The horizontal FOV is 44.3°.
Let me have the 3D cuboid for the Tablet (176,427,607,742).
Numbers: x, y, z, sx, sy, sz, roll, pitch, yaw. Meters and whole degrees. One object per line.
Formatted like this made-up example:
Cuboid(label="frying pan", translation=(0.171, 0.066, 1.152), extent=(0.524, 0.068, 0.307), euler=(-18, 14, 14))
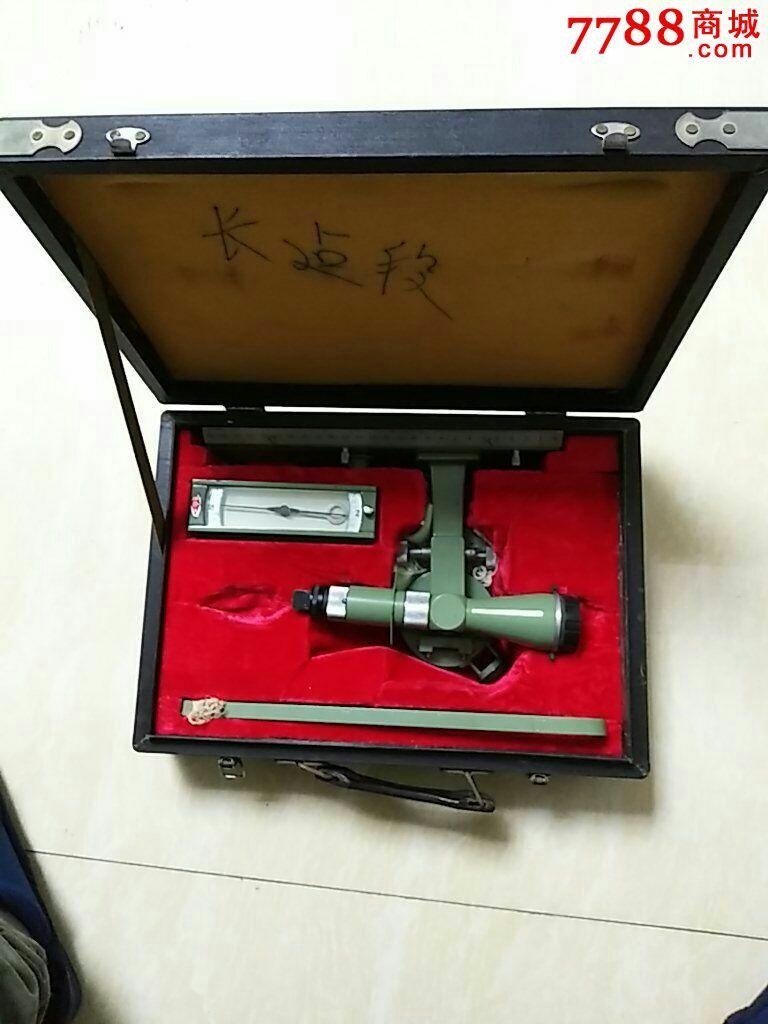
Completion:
Cuboid(label="Tablet", translation=(0.013, 0.102, 1.384), extent=(0.639, 0.167, 0.464), euler=(1, 79, 1))
